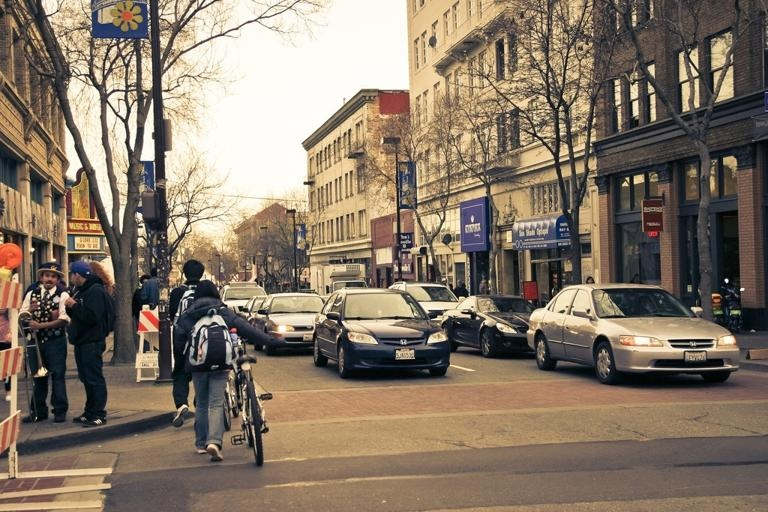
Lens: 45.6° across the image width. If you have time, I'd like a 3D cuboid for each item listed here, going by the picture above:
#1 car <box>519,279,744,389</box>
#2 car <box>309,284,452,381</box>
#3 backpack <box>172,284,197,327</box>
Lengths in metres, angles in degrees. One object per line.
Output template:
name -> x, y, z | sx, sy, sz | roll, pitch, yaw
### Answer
car -> 5.344, 1.720, 20.932 | 2.795, 2.011, 6.073 | 0, -3, -13
car -> -0.069, 1.732, 20.795 | 1.869, 1.675, 4.725 | 0, -2, -12
backpack -> -3.317, 0.838, 15.357 | 0.431, 0.595, 0.628 | 13, -50, -14
